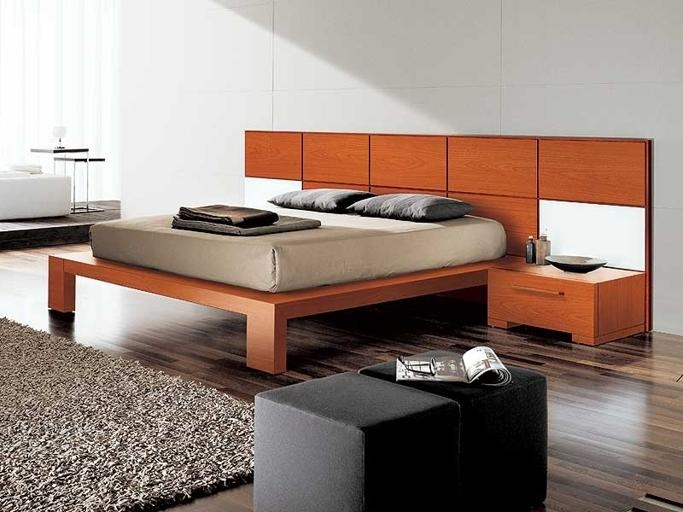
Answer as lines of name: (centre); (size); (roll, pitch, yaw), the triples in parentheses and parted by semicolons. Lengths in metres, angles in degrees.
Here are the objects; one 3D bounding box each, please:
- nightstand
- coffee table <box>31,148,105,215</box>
nightstand: (1.680, 0.208, 3.805); (0.672, 0.340, 0.925); (-4, 6, -43)
coffee table: (-4.648, -1.364, 9.275); (0.998, 1.115, 2.258); (-3, 9, -25)
